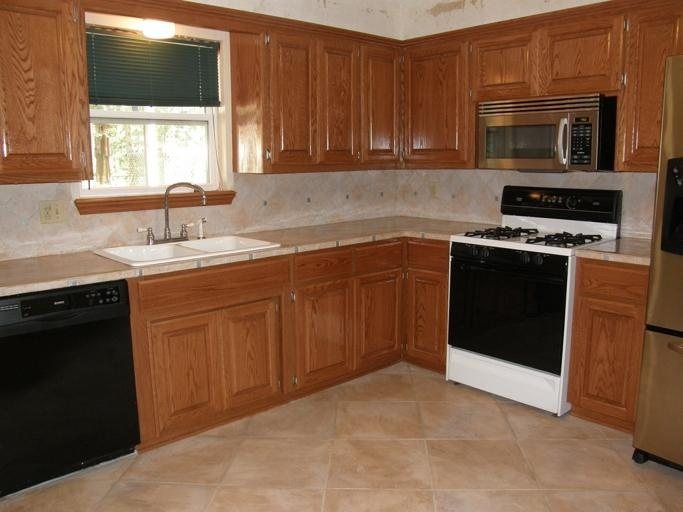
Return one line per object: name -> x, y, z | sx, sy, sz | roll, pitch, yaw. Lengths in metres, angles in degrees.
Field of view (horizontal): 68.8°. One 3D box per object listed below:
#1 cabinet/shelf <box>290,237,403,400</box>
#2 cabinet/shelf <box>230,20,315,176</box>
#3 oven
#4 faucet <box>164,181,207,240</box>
cabinet/shelf -> 0.007, 0.436, 3.598 | 0.985, 0.926, 0.379 | -10, 14, -39
cabinet/shelf -> -0.477, -1.083, 3.535 | 0.598, 0.945, 0.321 | -1, 14, -5
oven -> 1.351, 0.527, 3.705 | 0.752, 0.946, 0.989 | -3, 6, -42
faucet -> -1.051, -0.315, 3.365 | 0.296, 0.375, 0.428 | -4, 14, -15
